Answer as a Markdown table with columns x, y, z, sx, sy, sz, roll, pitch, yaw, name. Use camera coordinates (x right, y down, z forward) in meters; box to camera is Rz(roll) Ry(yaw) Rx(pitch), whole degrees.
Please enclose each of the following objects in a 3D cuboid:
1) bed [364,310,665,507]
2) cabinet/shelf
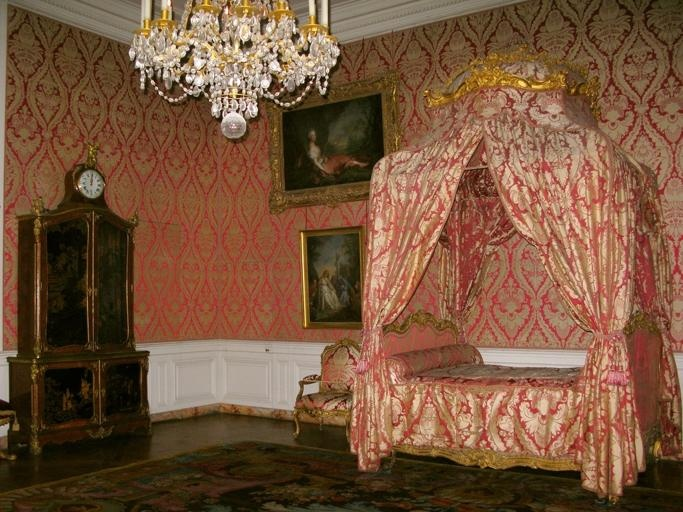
| x | y | z | sx | sy | sz | roll | pitch | yaw | name |
| --- | --- | --- | --- | --- | --- | --- | --- | --- | --- |
| 1.839 | 1.443 | 7.696 | 2.227 | 1.551 | 1.654 | -1 | -2 | 28 | bed |
| -3.249 | 0.805 | 8.910 | 1.623 | 2.882 | 0.581 | -2 | 2 | -41 | cabinet/shelf |
